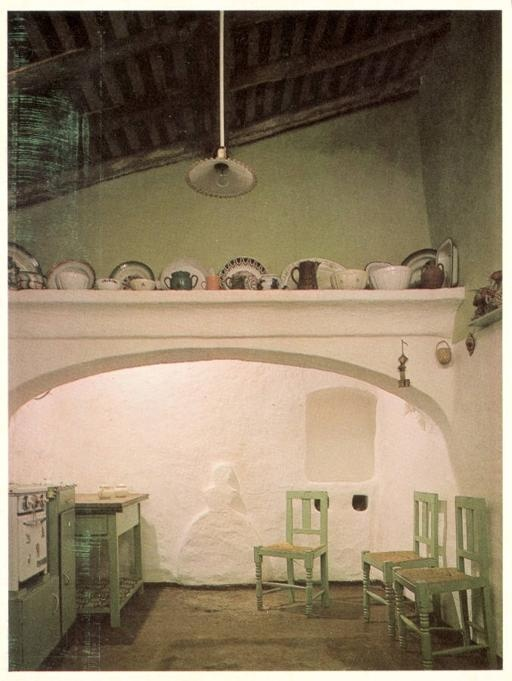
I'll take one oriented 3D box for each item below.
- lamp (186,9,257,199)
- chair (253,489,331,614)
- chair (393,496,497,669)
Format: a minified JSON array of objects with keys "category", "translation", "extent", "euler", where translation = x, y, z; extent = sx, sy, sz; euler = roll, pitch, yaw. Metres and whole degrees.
[{"category":"lamp","translation":[-0.127,-0.984,3.323],"extent":[0.268,0.828,0.502],"euler":[1,-7,-1]},{"category":"chair","translation":[0.153,0.876,3.360],"extent":[0.280,0.490,0.145],"euler":[-2,-8,23]},{"category":"chair","translation":[0.772,0.972,3.216],"extent":[0.449,0.677,0.274],"euler":[4,-8,-21]}]
